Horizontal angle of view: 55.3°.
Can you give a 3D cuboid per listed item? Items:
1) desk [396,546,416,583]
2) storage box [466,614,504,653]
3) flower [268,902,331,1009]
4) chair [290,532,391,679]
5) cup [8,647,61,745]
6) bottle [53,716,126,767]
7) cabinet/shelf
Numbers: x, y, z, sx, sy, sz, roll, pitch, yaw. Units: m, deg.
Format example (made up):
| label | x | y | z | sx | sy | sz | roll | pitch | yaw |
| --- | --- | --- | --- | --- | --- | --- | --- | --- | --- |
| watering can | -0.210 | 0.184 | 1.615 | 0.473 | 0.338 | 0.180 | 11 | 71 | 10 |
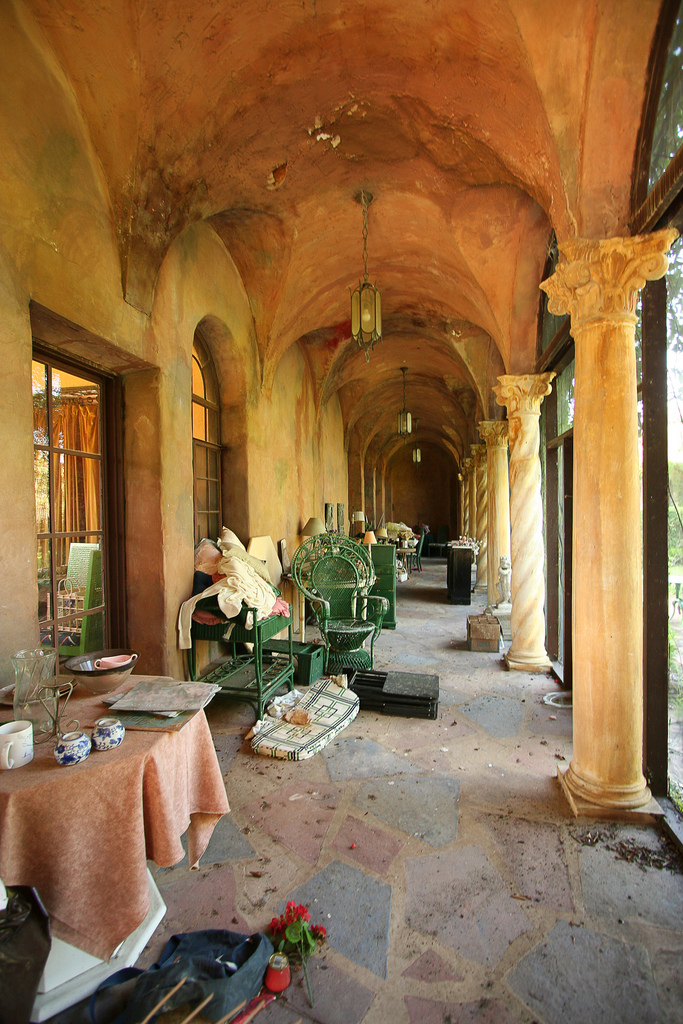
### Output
| label | x | y | z | sx | sy | sz | roll | pitch | yaw |
| --- | --- | --- | --- | --- | --- | --- | --- | --- | --- |
| desk | 1.538 | 1.217 | 16.148 | 0.458 | 0.512 | 0.940 | -1 | 2 | 0 |
| storage box | 1.457 | 1.264 | 6.793 | 0.239 | 0.263 | 0.462 | 1 | -3 | 6 |
| flower | -0.154 | 1.551 | 2.273 | 0.163 | 0.148 | 0.329 | 27 | 9 | -29 |
| chair | -0.039 | 0.758 | 5.306 | 0.722 | 1.190 | 0.627 | 1 | 3 | -1 |
| cup | -1.062 | 0.619 | 2.264 | 0.152 | 0.306 | 0.159 | -2 | 0 | 0 |
| bottle | -0.791 | 0.716 | 2.043 | 0.157 | 0.067 | 0.096 | -8 | 4 | -43 |
| cabinet/shelf | -0.599 | 1.109 | 4.824 | 0.345 | 0.660 | 0.630 | 8 | -3 | 27 |
